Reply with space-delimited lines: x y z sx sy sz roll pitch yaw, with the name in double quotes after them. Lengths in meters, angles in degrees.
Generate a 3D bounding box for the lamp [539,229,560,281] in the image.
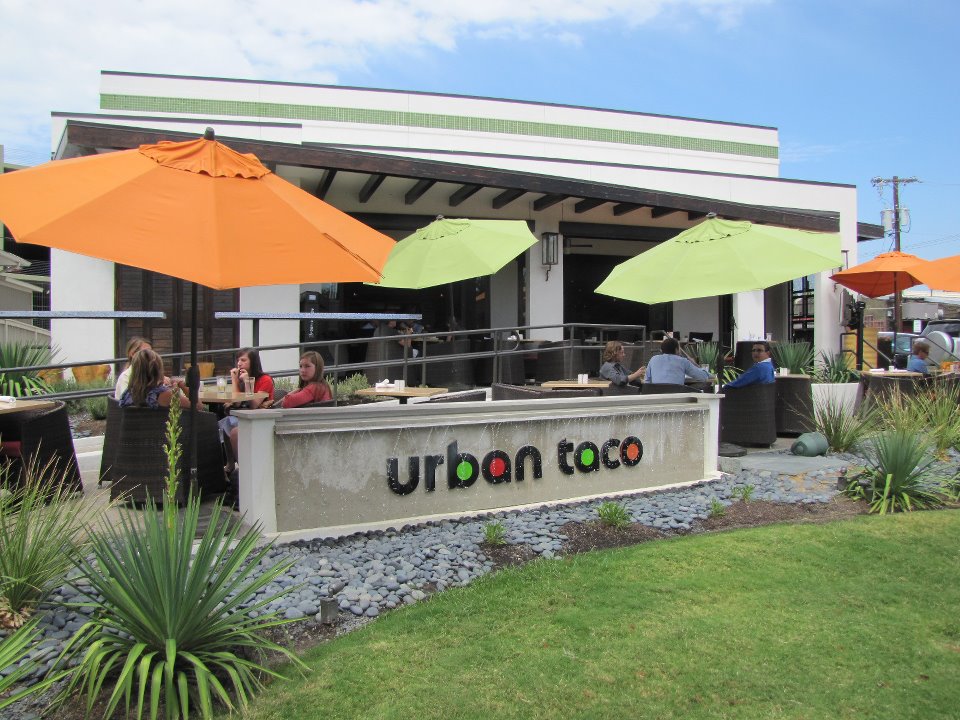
1.483 -2.163 16.858 0.493 0.967 0.183 -4 13 -20 "lamp"

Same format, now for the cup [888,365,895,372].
6.659 0.129 13.171 0.068 0.079 0.108 3 1 10 "cup"

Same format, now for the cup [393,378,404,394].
-0.887 0.302 8.856 0.115 0.133 0.125 1 -1 0 "cup"

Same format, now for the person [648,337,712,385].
2.669 0.022 10.845 0.491 0.818 0.372 8 22 31 "person"

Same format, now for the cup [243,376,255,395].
-2.158 0.231 7.701 0.093 0.163 0.158 0 -2 -13 "cup"

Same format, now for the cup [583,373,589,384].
1.384 0.236 10.647 0.100 0.127 0.102 0 3 0 "cup"

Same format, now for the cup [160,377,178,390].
-2.519 0.187 6.608 0.103 0.058 0.146 3 0 -17 "cup"
